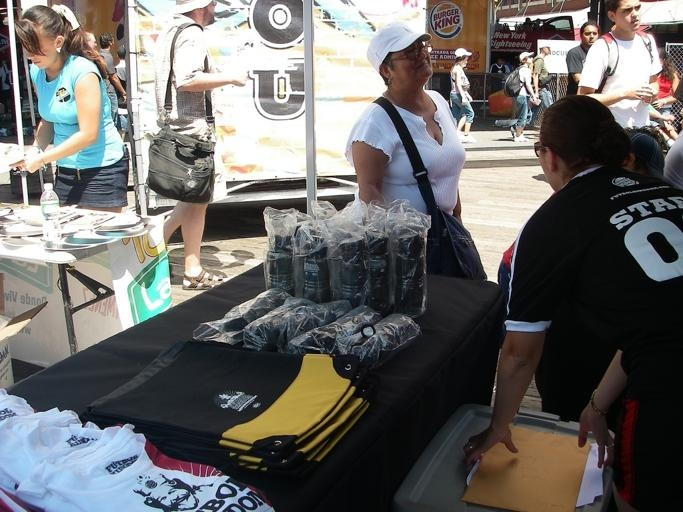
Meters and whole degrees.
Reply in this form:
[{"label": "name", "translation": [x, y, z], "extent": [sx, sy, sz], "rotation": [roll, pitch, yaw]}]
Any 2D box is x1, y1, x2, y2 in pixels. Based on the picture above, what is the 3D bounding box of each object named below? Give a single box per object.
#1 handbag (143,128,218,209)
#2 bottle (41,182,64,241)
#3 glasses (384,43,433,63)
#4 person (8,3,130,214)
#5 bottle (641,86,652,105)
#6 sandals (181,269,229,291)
[{"label": "handbag", "translation": [-1.285, -0.730, 4.071], "extent": [0.638, 0.652, 0.485], "rotation": [18, 1, -11]}, {"label": "bottle", "translation": [-1.640, -0.259, 2.600], "extent": [0.090, 0.295, 0.541], "rotation": [-5, 12, -32]}, {"label": "glasses", "translation": [0.331, -1.030, 2.326], "extent": [0.188, 0.060, 0.128], "rotation": [-22, 13, 48]}, {"label": "person", "translation": [-1.867, -1.029, 3.176], "extent": [0.690, 1.465, 0.711], "rotation": [-4, 12, -27]}, {"label": "bottle", "translation": [2.427, -1.285, 3.662], "extent": [0.085, 0.114, 0.038], "rotation": [1, 10, 3]}, {"label": "sandals", "translation": [-1.185, 0.205, 3.945], "extent": [0.309, 0.136, 0.137], "rotation": [-8, 16, -22]}]
